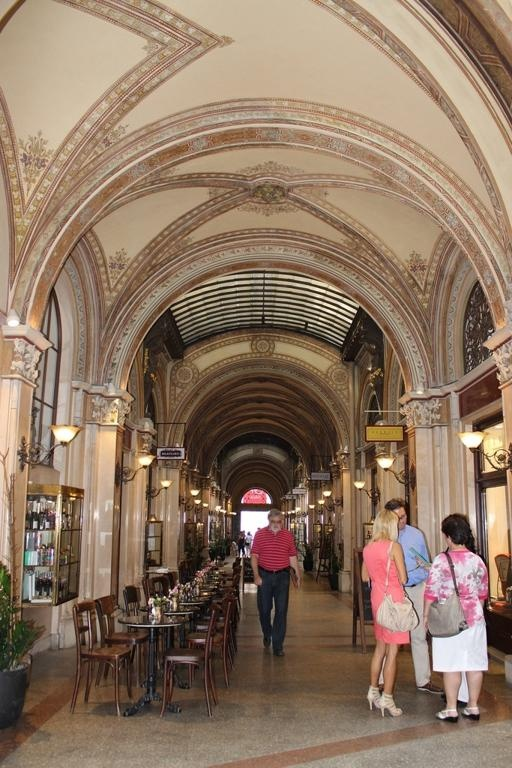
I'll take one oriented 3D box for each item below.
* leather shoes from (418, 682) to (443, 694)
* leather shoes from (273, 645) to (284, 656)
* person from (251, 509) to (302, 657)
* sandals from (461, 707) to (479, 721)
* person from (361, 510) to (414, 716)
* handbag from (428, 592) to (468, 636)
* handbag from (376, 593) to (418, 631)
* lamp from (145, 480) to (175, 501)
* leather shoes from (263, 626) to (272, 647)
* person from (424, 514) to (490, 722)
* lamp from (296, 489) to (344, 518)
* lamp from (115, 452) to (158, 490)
[{"bbox_3d":[1.534,2.710,4.598,0.233,0.102,0.090,-5,-12,24],"label":"leather shoes"},{"bbox_3d":[0.300,3.529,6.876,0.141,0.102,0.231,-2,-13,0],"label":"leather shoes"},{"bbox_3d":[0.265,2.707,7.115,0.615,1.925,0.988,-2,-13,3],"label":"person"},{"bbox_3d":[1.531,2.333,3.709,0.055,0.065,0.158,2,-10,5],"label":"sandals"},{"bbox_3d":[0.977,1.716,3.886,0.358,1.515,0.687,-4,-13,10],"label":"person"},{"bbox_3d":[1.278,1.516,3.435,0.232,0.249,0.096,-31,-55,32],"label":"handbag"},{"bbox_3d":[0.988,1.610,3.664,0.287,0.258,0.174,-5,-13,13],"label":"handbag"},{"bbox_3d":[-3.115,3.395,16.747,0.865,0.916,0.499,2,-4,2],"label":"lamp"},{"bbox_3d":[0.169,3.565,7.353,0.125,0.404,0.165,-1,12,4],"label":"leather shoes"},{"bbox_3d":[1.395,1.632,3.608,0.425,1.408,0.566,-5,-13,16],"label":"person"},{"bbox_3d":[3.200,5.948,25.877,1.727,1.077,5.502,2,-7,-5],"label":"lamp"},{"bbox_3d":[-2.576,1.766,10.813,0.838,0.584,0.436,-4,-6,14],"label":"lamp"}]
